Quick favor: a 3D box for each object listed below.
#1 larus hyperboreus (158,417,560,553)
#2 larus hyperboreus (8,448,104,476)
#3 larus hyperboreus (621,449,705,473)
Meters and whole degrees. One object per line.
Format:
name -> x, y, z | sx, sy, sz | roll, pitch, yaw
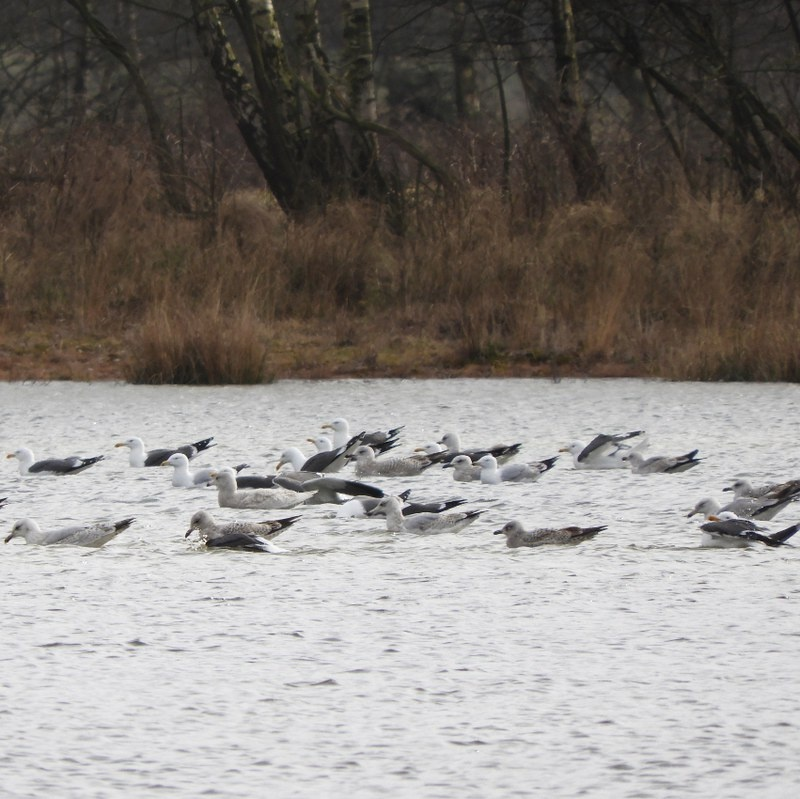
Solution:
larus hyperboreus -> -0.249, 0.419, 7.756 | 1.250, 0.335, 1.481 | -4, 2, -1
larus hyperboreus -> -1.640, 0.292, 8.698 | 0.431, 0.123, 0.217 | -4, 2, -4
larus hyperboreus -> 1.214, 0.295, 8.591 | 0.326, 0.090, 0.243 | -4, 2, 9
